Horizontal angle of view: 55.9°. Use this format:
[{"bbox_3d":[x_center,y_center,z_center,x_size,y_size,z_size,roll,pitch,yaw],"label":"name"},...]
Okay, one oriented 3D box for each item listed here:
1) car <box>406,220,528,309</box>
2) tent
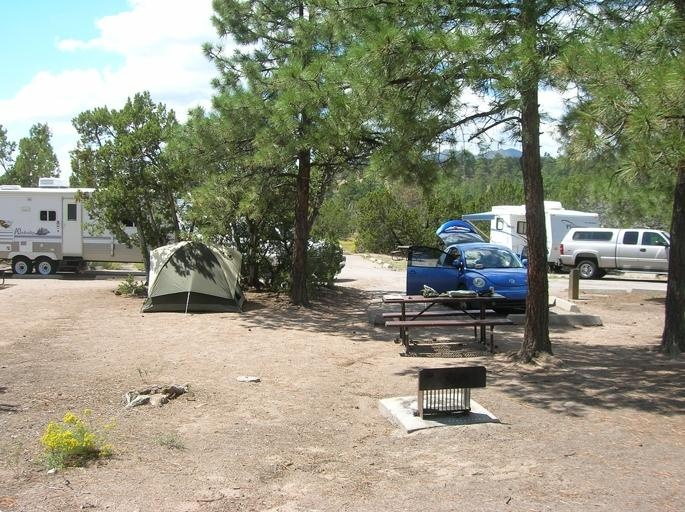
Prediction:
[{"bbox_3d":[3.274,0.353,16.305,2.285,1.485,2.904,1,-2,-23],"label":"car"},{"bbox_3d":[-3.636,0.489,16.659,2.444,1.522,3.213,2,5,5],"label":"tent"}]
